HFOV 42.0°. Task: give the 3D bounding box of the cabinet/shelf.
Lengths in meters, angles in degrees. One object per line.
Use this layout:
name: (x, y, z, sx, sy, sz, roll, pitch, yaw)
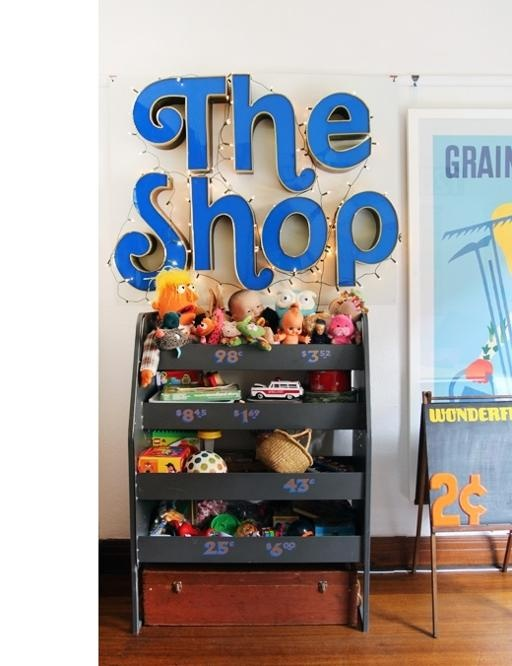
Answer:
cabinet/shelf: (0.031, 0.411, 1.986, 0.742, 0.838, 0.516, -1, -5, 21)
